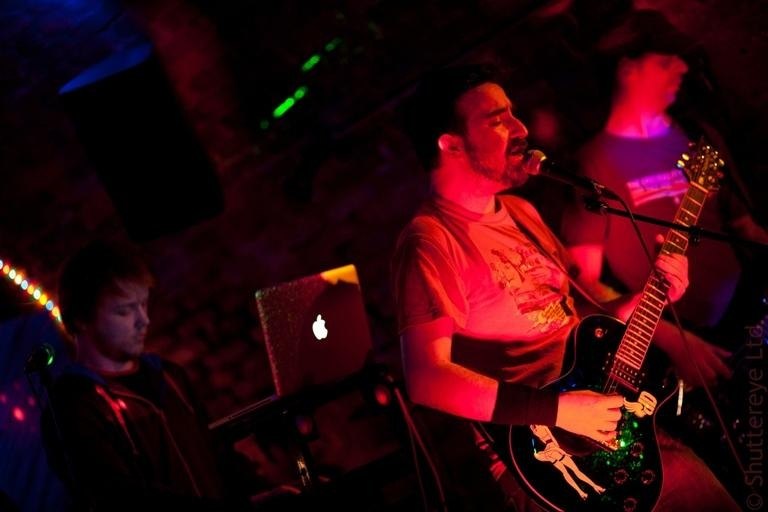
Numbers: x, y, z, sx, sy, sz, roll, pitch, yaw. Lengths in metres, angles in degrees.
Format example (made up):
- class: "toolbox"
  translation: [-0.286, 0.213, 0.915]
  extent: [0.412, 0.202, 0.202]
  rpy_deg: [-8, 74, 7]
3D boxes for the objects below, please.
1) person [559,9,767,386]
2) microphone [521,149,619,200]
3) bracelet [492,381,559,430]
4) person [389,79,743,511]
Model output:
- class: "person"
  translation: [1.627, -0.423, 3.969]
  extent: [1.063, 2.533, 0.354]
  rpy_deg: [-2, -5, -8]
- class: "microphone"
  translation: [1.044, -0.458, 3.722]
  extent: [0.536, 0.164, 0.154]
  rpy_deg: [22, -13, 17]
- class: "bracelet"
  translation: [0.749, 0.792, 3.449]
  extent: [0.379, 0.252, 0.065]
  rpy_deg: [-20, -5, 4]
- class: "person"
  translation: [0.720, 0.083, 3.477]
  extent: [1.443, 2.955, 0.457]
  rpy_deg: [0, -16, -30]
